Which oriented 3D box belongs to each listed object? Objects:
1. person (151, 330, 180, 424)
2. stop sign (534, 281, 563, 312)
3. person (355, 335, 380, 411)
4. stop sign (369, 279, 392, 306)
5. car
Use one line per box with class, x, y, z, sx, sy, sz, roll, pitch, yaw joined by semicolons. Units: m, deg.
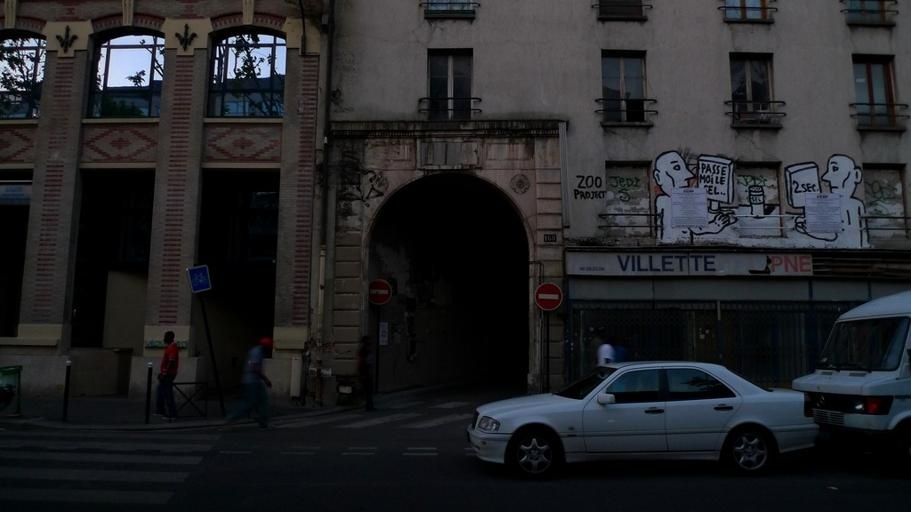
person;-9.894;4.073;32.021;0.642;2.991;1.150;0;-5;-17
stop sign;3.460;1.551;34.848;1.082;0.994;0.180;9;-9;-5
person;-3.303;4.305;34.479;0.602;2.674;1.583;-1;-5;-7
stop sign;-2.943;1.400;36.213;1.148;1.054;0.206;3;-6;4
car;5.392;4.912;28.271;9.409;2.571;3.869;1;-8;2
